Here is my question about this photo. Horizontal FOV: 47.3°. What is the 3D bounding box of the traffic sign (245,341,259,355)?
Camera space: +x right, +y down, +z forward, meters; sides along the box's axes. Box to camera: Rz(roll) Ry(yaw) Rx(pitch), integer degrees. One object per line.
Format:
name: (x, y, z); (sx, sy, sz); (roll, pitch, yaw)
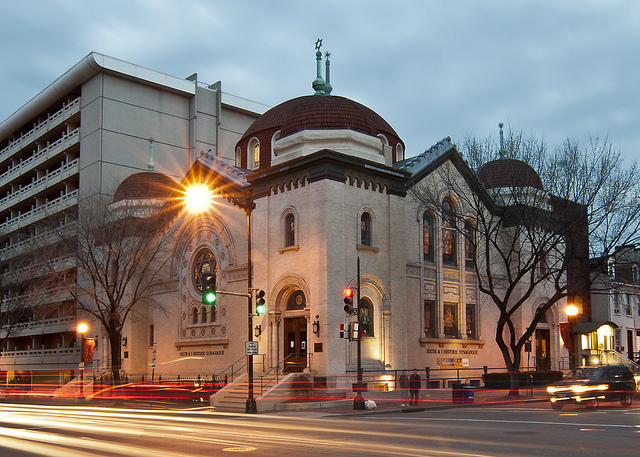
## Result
traffic sign: (-3.913, 6.818, 41.479); (0.632, 0.768, 0.804); (2, -19, -11)

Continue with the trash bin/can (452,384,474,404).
trash bin/can: (8.521, 9.973, 43.944); (0.987, 1.244, 1.238); (6, -8, -36)

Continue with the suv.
suv: (14.391, 8.451, 38.644); (4.735, 2.189, 1.160); (4, -19, -18)

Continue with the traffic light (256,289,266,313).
traffic light: (-3.397, 4.140, 40.965); (0.433, 1.409, 1.007); (-1, -18, -3)
